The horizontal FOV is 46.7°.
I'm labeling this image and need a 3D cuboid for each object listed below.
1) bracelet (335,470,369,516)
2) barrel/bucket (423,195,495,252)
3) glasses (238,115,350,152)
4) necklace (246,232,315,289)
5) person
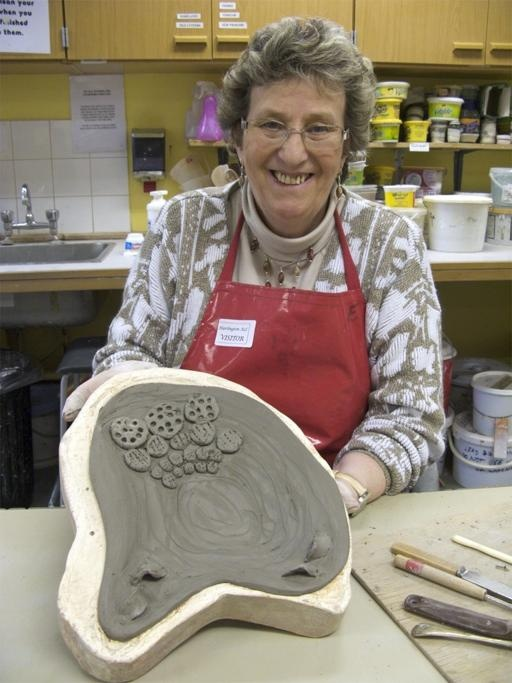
[{"bbox_3d":[0.144,0.218,0.858,0.044,0.029,0.060,44,16,9],"label":"bracelet"},{"bbox_3d":[0.801,-0.453,2.382,0.267,0.191,0.242,-1,12,-2],"label":"barrel/bucket"},{"bbox_3d":[0.067,-0.368,1.059,0.163,0.052,0.054,0,14,3],"label":"glasses"},{"bbox_3d":[0.051,-0.157,1.185,0.103,0.067,0.127,-1,36,-10],"label":"necklace"},{"bbox_3d":[0.016,-0.170,1.099,0.674,0.797,0.567,4,15,19],"label":"person"}]
